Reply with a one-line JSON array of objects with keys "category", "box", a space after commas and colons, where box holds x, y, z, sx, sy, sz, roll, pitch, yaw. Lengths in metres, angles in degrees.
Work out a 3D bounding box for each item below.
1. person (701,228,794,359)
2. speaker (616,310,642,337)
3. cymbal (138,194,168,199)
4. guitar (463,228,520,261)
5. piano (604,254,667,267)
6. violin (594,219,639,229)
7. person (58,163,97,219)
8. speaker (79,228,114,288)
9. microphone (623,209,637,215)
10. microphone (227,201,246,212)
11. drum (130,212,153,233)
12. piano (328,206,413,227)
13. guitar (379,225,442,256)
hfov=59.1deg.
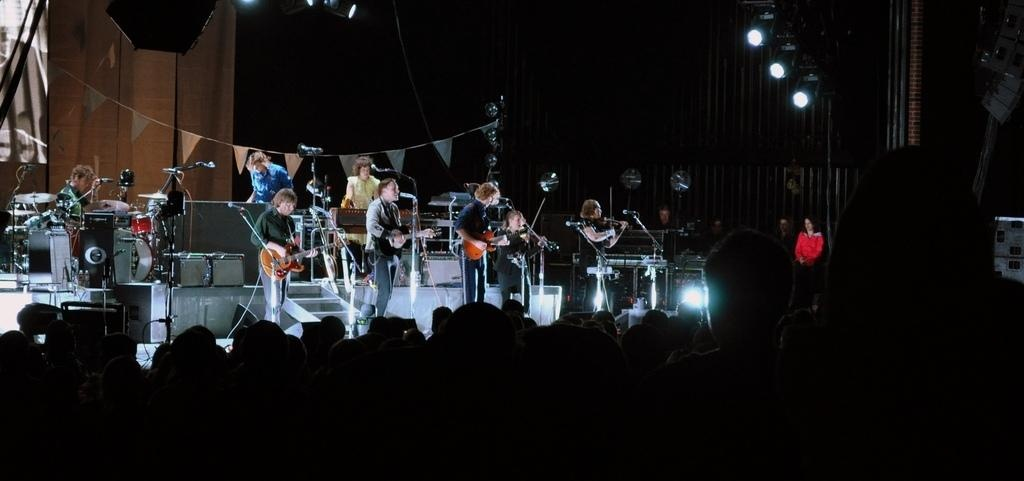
[{"category": "person", "box": [2.210, 0.500, 8.322, 0.918, 1.082, 0.291, 4, 2, 2]}, {"category": "speaker", "box": [1.545, 1.091, 11.929, 0.206, 0.185, 0.373, 10, 25, 26]}, {"category": "cymbal", "box": [-5.743, -0.705, 14.445, 0.326, 0.067, 0.314, -1, -3, 21]}, {"category": "guitar", "box": [-0.440, 0.034, 14.155, 0.355, 0.457, 0.845, 5, 9, 37]}, {"category": "piano", "box": [2.164, 0.356, 15.790, 1.078, 0.245, 0.320, -1, 7, -1]}, {"category": "violin", "box": [1.859, -0.288, 15.995, 0.722, 0.145, 0.280, 5, -5, -28]}, {"category": "person", "box": [-7.234, -0.811, 14.973, 0.554, 0.776, 1.158, -3, 8, -11]}, {"category": "speaker", "box": [-6.310, 0.257, 13.723, 0.503, 0.903, 0.277, -3, 8, -15]}, {"category": "microphone", "box": [2.194, -0.527, 16.895, 0.233, 0.080, 0.237, 6, 3, 41]}, {"category": "microphone", "box": [-4.488, -0.539, 14.604, 0.285, 0.145, 0.074, 1, 8, 14]}, {"category": "drum", "box": [-5.741, -0.235, 13.969, 0.310, 0.321, 0.451, -4, 8, -22]}, {"category": "piano", "box": [-2.624, -0.382, 14.755, 0.774, 0.284, 0.530, 1, -3, -17]}, {"category": "guitar", "box": [-1.598, -0.013, 13.622, 0.489, 0.453, 0.804, 5, 9, 37]}]
